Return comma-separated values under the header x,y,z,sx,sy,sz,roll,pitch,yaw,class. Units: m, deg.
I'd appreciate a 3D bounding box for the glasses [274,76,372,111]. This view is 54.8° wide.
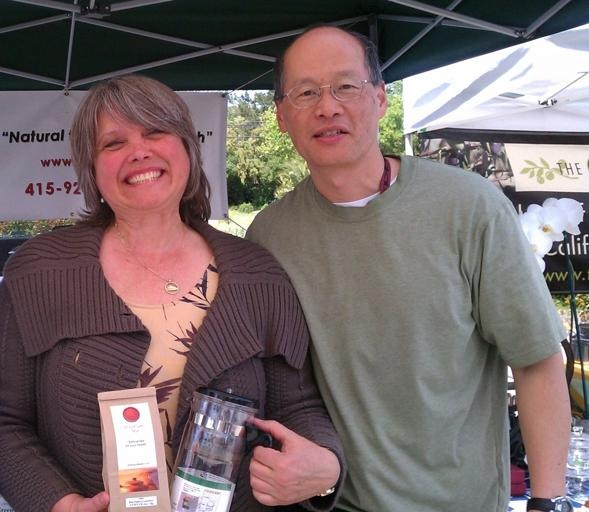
x,y,z,sx,sy,sz,roll,pitch,yaw,class
0.102,-0.548,1.905,0.199,0.048,0.120,-11,-16,6,glasses
